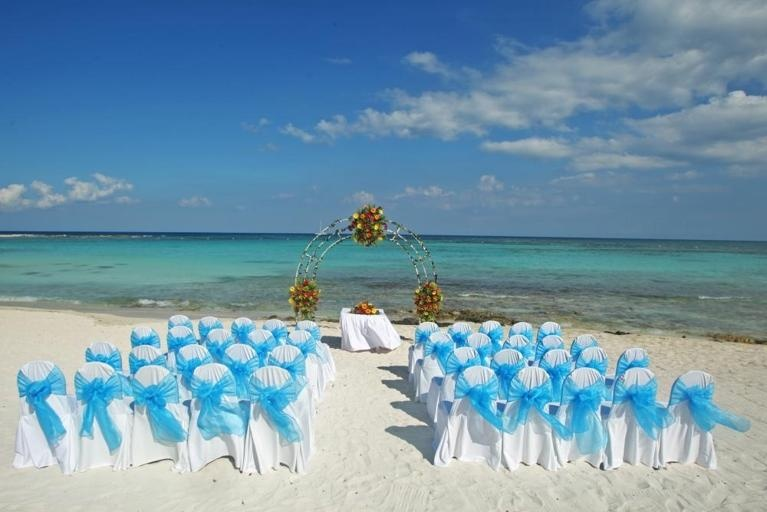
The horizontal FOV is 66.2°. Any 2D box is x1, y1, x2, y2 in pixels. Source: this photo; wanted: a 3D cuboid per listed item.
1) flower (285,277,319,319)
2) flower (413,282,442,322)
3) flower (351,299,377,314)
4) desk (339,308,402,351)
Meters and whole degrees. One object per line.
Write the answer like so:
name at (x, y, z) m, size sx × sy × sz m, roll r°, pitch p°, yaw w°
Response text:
flower at (-2.235, 1.291, 17.086) m, size 0.989 × 1.161 × 0.890 m, roll 5°, pitch 3°, yaw -1°
flower at (1.306, 1.349, 17.194) m, size 0.859 × 1.173 × 0.878 m, roll 0°, pitch -4°, yaw 4°
flower at (-0.545, 1.436, 16.038) m, size 0.552 × 0.262 × 0.537 m, roll 2°, pitch -5°, yaw -10°
desk at (-0.366, 2.025, 15.806) m, size 1.377 × 0.700 × 1.028 m, roll 1°, pitch -4°, yaw 1°
